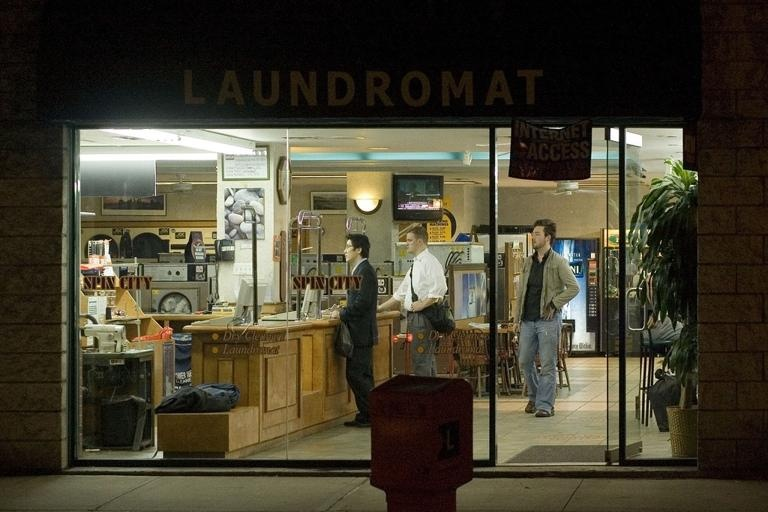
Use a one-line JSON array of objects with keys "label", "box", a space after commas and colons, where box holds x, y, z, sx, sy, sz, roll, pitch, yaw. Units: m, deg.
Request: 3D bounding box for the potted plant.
[{"label": "potted plant", "box": [2.584, 0.470, 7.292, 0.601, 2.688, 0.351, -2, -3, 17]}]

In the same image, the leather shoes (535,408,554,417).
[{"label": "leather shoes", "box": [1.805, 1.780, 9.013, 0.084, 0.085, 0.226, -5, -12, 28]}]

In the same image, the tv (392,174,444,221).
[{"label": "tv", "box": [0.293, -0.563, 7.742, 0.473, 0.361, 0.245, 1, -11, -18]}]

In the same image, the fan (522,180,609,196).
[{"label": "fan", "box": [2.670, -1.008, 11.855, 0.725, 0.133, 0.623, -2, 4, -37]}]

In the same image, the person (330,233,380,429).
[{"label": "person", "box": [-0.280, 0.717, 7.606, 0.444, 1.843, 0.492, -2, -3, 0]}]

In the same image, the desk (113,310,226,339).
[{"label": "desk", "box": [-2.130, 0.679, 7.740, 0.962, 0.257, 0.426, -1, -2, -10]}]

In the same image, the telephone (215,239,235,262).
[{"label": "telephone", "box": [-1.590, -0.072, 7.935, 0.263, 0.241, 0.206, 1, 2, 15]}]

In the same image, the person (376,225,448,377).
[{"label": "person", "box": [0.286, 0.408, 7.485, 0.610, 1.386, 0.227, -2, -3, -2]}]

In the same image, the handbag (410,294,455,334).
[{"label": "handbag", "box": [0.460, 0.558, 7.451, 0.297, 0.294, 0.171, -19, -18, -46]}]
